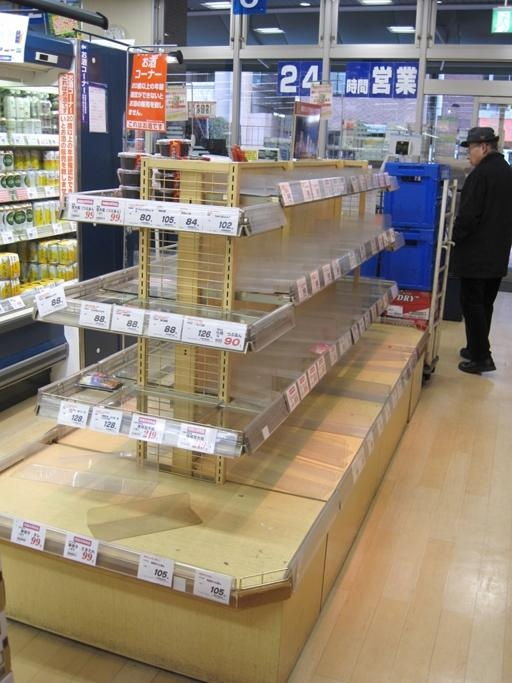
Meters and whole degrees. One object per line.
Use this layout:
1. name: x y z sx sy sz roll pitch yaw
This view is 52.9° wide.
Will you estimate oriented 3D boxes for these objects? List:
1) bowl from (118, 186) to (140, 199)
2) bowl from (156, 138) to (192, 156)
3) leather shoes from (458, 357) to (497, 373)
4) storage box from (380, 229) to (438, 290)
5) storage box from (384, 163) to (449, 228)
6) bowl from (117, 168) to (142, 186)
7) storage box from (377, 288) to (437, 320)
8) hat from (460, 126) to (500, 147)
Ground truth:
1. bowl: -0.457 -0.531 1.857 0.082 0.058 0.082 0 16 0
2. bowl: -0.325 -0.764 2.035 0.129 0.046 0.130 2 23 -1
3. leather shoes: 2.015 0.225 4.725 0.334 0.139 0.136 9 18 38
4. storage box: 1.304 -0.717 4.393 0.417 0.526 0.735 7 15 25
5. storage box: 1.219 -1.144 4.378 0.458 0.528 0.754 2 3 2
6. bowl: -0.465 -0.602 1.888 0.081 0.047 0.079 0 21 0
7. storage box: 1.305 -0.324 4.322 0.346 0.243 0.101 9 9 15
8. hat: 1.897 -1.715 4.374 0.300 0.104 0.212 10 22 33
